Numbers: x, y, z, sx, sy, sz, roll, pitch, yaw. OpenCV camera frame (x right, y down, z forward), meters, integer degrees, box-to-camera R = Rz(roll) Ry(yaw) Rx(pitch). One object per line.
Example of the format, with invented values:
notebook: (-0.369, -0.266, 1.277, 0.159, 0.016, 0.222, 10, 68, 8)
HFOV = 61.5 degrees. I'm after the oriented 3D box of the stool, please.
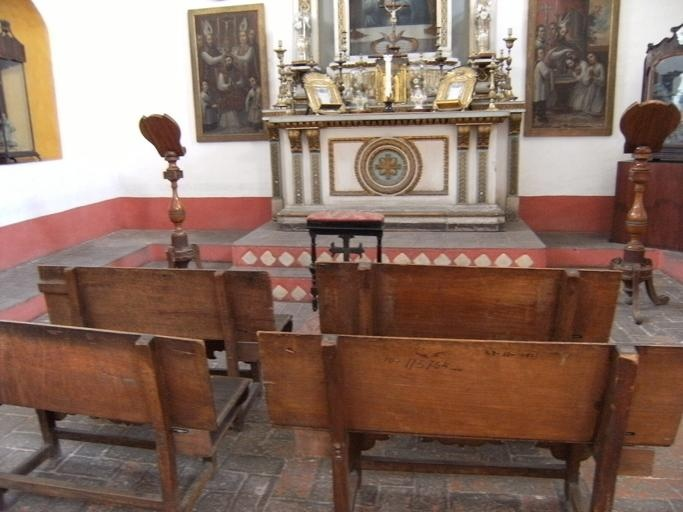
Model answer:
stool: (0.060, 0.005, 5.657, 0.903, 0.695, 0.713, -2, 4, 16)
